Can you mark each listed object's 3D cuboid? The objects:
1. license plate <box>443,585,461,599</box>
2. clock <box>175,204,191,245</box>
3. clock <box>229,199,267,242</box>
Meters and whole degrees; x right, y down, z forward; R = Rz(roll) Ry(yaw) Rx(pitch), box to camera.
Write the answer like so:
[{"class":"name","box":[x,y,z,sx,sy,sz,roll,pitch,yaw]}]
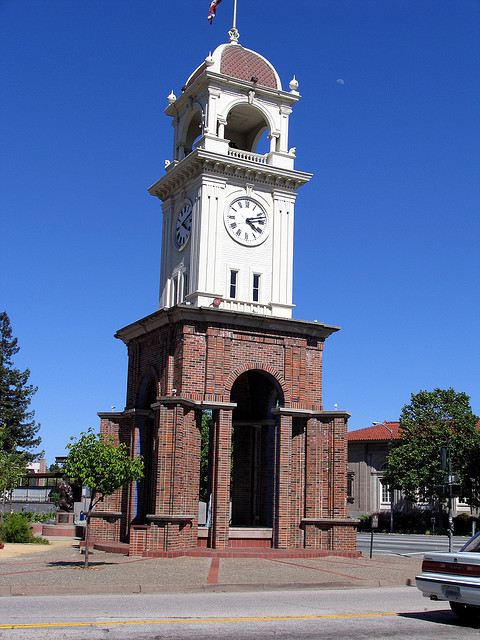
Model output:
[{"class":"license plate","box":[3.496,4.512,15.770,0.076,0.202,0.384,8,-16,-23]},{"class":"clock","box":[-2.229,-3.795,37.950,0.115,1.616,1.647,9,-13,-17]},{"class":"clock","box":[0.281,-3.884,36.930,1.825,1.826,0.252,14,26,30]}]
